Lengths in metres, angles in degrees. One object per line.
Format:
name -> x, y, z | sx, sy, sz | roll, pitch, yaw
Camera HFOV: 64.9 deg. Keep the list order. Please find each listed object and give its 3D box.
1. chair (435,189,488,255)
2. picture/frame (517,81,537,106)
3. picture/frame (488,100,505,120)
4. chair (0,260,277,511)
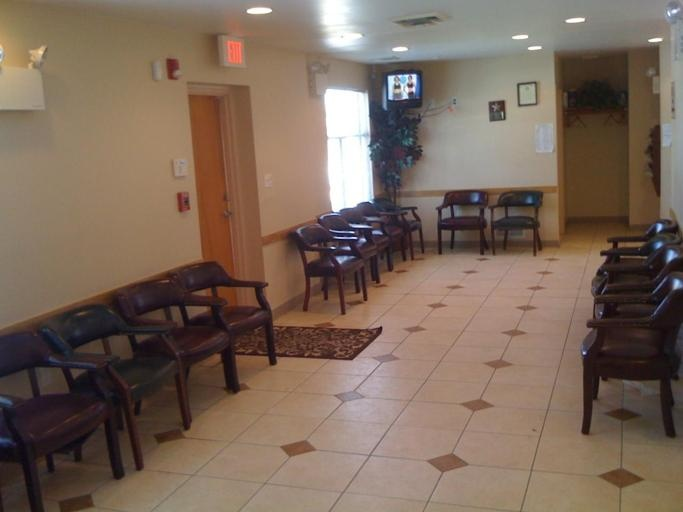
chair -> 2.017, -0.582, 8.903 | 0.834, 0.995, 0.909 | -2, 14, 15
picture/frame -> 2.949, -2.615, 8.531 | 0.403, 0.462, 0.035 | 1, 6, 21
picture/frame -> 2.523, -2.393, 8.727 | 0.331, 0.378, 0.054 | 1, 5, 26
chair -> -1.387, 0.726, 4.213 | 0.801, 0.992, 1.851 | 1, 14, 25
